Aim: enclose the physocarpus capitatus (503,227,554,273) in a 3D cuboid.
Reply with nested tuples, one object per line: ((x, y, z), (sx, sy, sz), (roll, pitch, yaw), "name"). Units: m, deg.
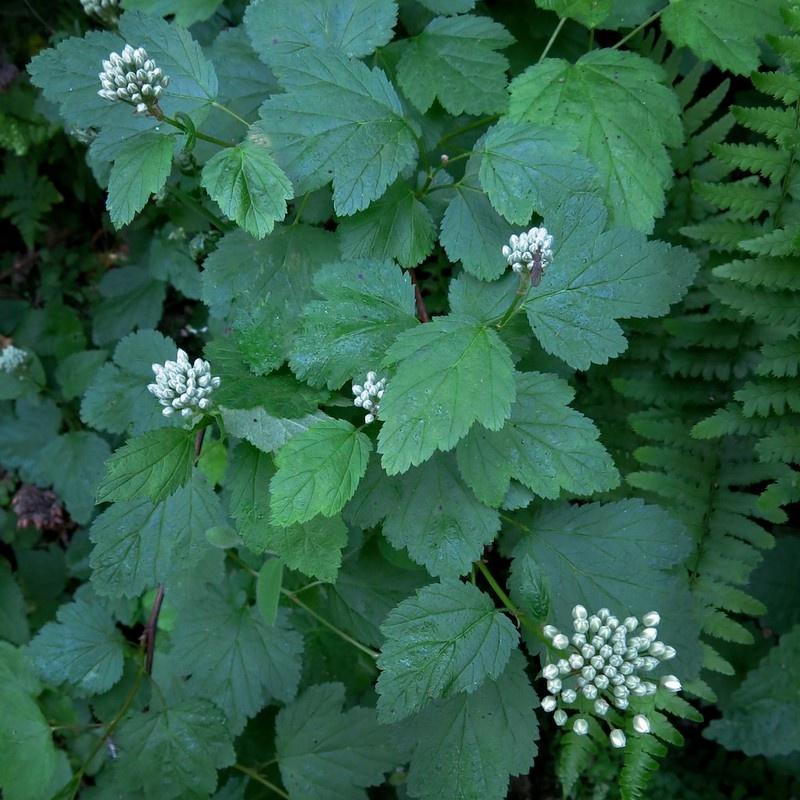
((0.300, -0.370, 2.150), (0.124, 0.081, 0.108), (-10, 93, -13), "physocarpus capitatus")

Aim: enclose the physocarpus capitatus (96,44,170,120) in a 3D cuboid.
((-0.667, -0.801, 2.192), (0.137, 0.161, 0.136), (11, 64, 19), "physocarpus capitatus")

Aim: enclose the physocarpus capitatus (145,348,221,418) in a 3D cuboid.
((-0.590, -0.039, 2.358), (0.152, 0.159, 0.143), (41, 93, 14), "physocarpus capitatus")
